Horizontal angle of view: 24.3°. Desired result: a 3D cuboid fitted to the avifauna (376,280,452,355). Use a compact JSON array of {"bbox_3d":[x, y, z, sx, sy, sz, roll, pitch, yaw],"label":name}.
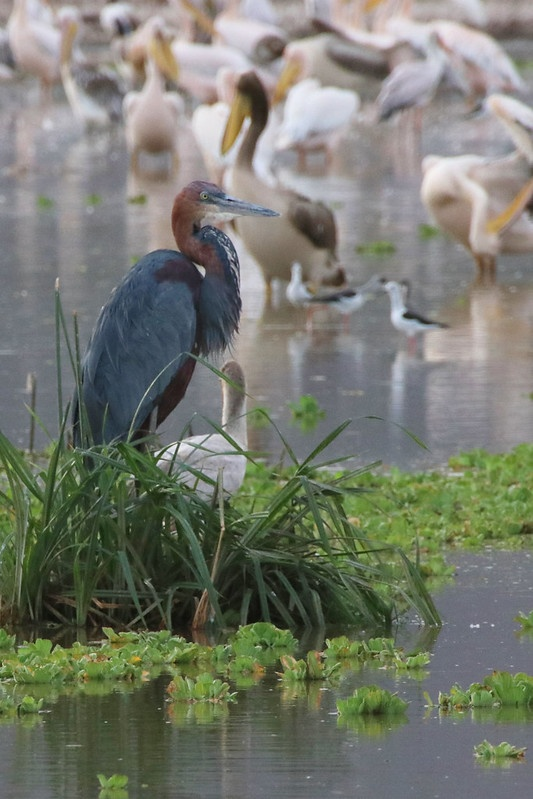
[{"bbox_3d":[1.569,-0.917,13.458,0.532,0.503,0.871,1,0,33],"label":"avifauna"}]
